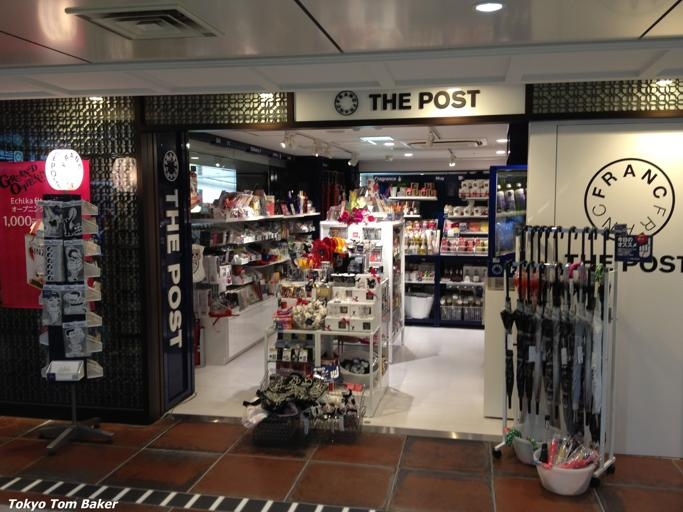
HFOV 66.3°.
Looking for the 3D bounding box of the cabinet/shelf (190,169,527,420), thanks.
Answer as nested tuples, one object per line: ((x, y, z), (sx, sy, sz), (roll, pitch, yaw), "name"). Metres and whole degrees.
((0.222, 0.228, 6.947), (4.246, 2.731, 4.877), (0, 10, 3), "cabinet/shelf")

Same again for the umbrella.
((1.910, 0.759, 4.566), (0.980, 2.072, 0.816), (5, 10, 29), "umbrella")

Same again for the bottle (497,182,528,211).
((2.049, -0.736, 6.335), (0.440, 0.377, 0.163), (-4, 4, -39), "bottle")

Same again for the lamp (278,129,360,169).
((-0.425, -1.737, 8.271), (1.078, 0.220, 0.705), (15, 2, -7), "lamp")

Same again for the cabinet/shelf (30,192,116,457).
((-2.579, 0.590, 4.921), (0.610, 2.332, 0.614), (-6, 10, -30), "cabinet/shelf")
